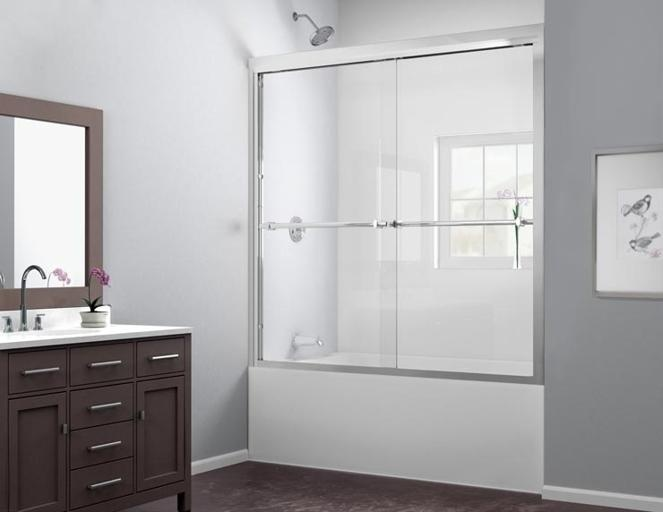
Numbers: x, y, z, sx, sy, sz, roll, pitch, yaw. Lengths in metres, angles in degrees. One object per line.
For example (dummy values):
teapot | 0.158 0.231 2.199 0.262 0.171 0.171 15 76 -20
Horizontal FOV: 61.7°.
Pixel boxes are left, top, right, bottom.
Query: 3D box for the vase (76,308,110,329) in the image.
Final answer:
vase | -1.282 0.340 3.010 0.119 0.074 0.101 -7 -9 34

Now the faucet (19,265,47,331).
faucet | -1.568 0.214 2.910 0.124 0.330 0.182 0 0 -28

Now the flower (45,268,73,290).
flower | -1.511 0.121 3.071 0.032 0.097 0.088 -3 -13 27
